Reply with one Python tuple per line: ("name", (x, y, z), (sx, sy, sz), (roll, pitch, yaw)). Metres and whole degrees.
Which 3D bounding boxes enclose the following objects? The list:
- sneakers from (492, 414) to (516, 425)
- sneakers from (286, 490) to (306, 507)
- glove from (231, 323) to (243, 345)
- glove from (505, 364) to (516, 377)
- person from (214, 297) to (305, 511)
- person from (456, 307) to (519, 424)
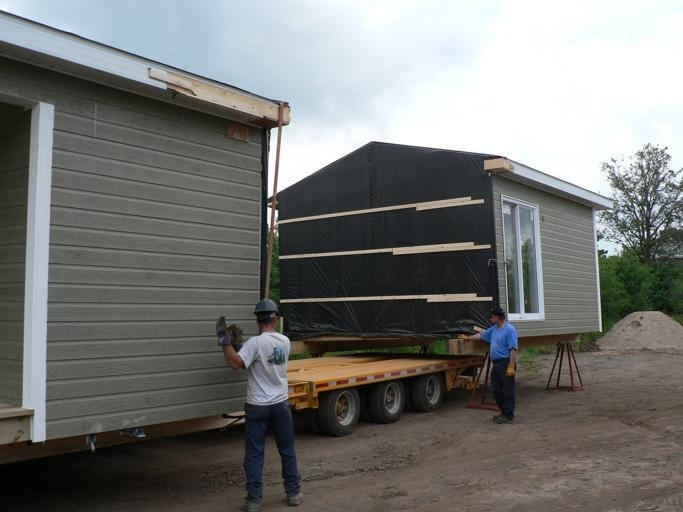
("sneakers", (2.714, 2.737, 9.112), (0.343, 0.158, 0.138), (0, -2, 38))
("sneakers", (-0.463, 2.443, 5.490), (0.078, 0.106, 0.233), (-1, -2, 16))
("glove", (-1.121, 0.846, 5.814), (0.068, 0.189, 0.134), (-16, -7, 23))
("glove", (2.803, 1.902, 9.009), (0.143, 0.112, 0.194), (1, -4, -6))
("person", (-0.791, 1.472, 5.383), (0.754, 2.060, 0.395), (-2, -9, -15))
("person", (2.671, 1.967, 10.023), (1.026, 2.475, 1.228), (8, -21, -8))
